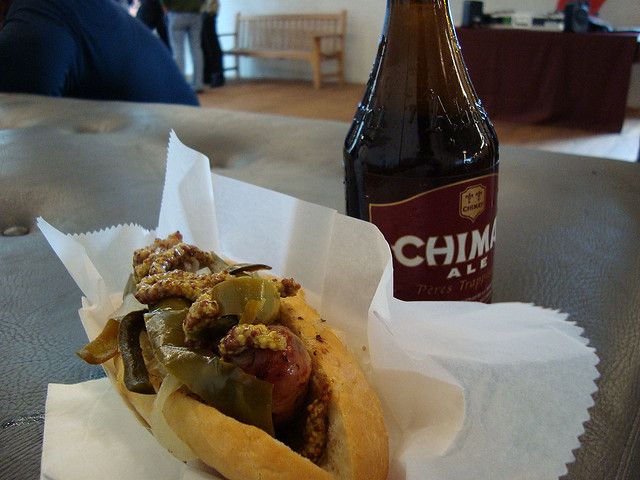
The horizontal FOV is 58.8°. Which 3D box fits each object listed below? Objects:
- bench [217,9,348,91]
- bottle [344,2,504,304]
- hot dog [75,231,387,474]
[{"bbox_3d":[-0.047,-0.209,0.617,0.170,0.109,0.097,7,21,19],"label":"bench"},{"bbox_3d":[0.102,-0.083,0.570,0.155,0.284,0.154,0,25,0],"label":"bottle"},{"bbox_3d":[-0.070,0.109,0.512,0.163,0.096,0.281,-31,50,-25],"label":"hot dog"}]
